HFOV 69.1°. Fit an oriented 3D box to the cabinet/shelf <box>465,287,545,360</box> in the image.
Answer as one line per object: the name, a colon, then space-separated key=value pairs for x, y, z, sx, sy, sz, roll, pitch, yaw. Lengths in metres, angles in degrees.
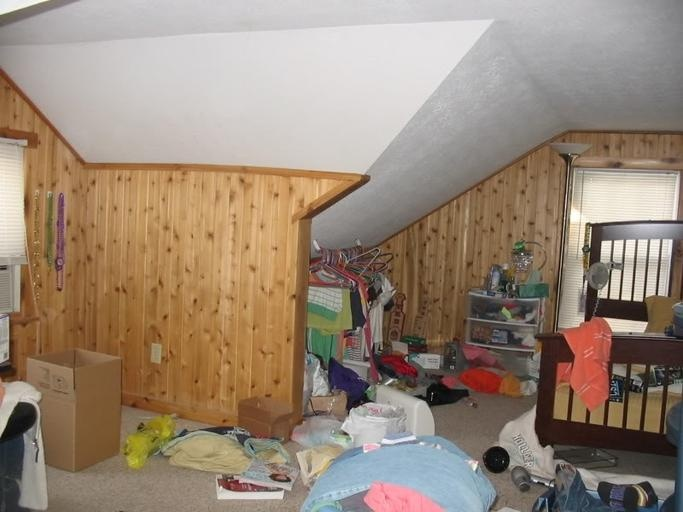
cabinet/shelf: x=1.936 y=0.744 z=6.137 sx=1.171 sy=0.918 sz=0.709 roll=4 pitch=-2 yaw=23

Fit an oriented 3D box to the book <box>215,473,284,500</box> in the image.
book: x=-0.563 y=1.450 z=3.094 sx=0.438 sy=0.060 sz=0.172 roll=6 pitch=-5 yaw=-3

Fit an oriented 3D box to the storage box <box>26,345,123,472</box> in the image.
storage box: x=-1.722 y=1.011 z=3.221 sx=0.622 sy=0.569 sz=0.335 roll=8 pitch=-6 yaw=-28

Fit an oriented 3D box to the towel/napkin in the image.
towel/napkin: x=1.691 y=0.730 z=3.416 sx=0.448 sy=0.586 sz=0.212 roll=5 pitch=-4 yaw=41

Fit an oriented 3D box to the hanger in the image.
hanger: x=0.105 y=0.073 z=4.798 sx=0.687 sy=0.213 sz=0.493 roll=1 pitch=2 yaw=-17

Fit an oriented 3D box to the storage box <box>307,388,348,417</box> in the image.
storage box: x=-0.104 y=1.257 z=4.183 sx=0.275 sy=0.118 sz=0.195 roll=1 pitch=0 yaw=1

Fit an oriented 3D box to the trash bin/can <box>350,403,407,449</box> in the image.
trash bin/can: x=0.241 y=1.147 z=3.531 sx=0.426 sy=0.283 sz=0.398 roll=-1 pitch=3 yaw=-19

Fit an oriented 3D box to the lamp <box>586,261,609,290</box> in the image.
lamp: x=2.356 y=0.187 z=4.553 sx=0.057 sy=0.230 sz=0.241 roll=-1 pitch=14 yaw=41

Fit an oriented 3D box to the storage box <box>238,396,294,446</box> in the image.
storage box: x=-0.550 y=1.197 z=3.746 sx=0.480 sy=0.311 sz=0.277 roll=3 pitch=1 yaw=37
